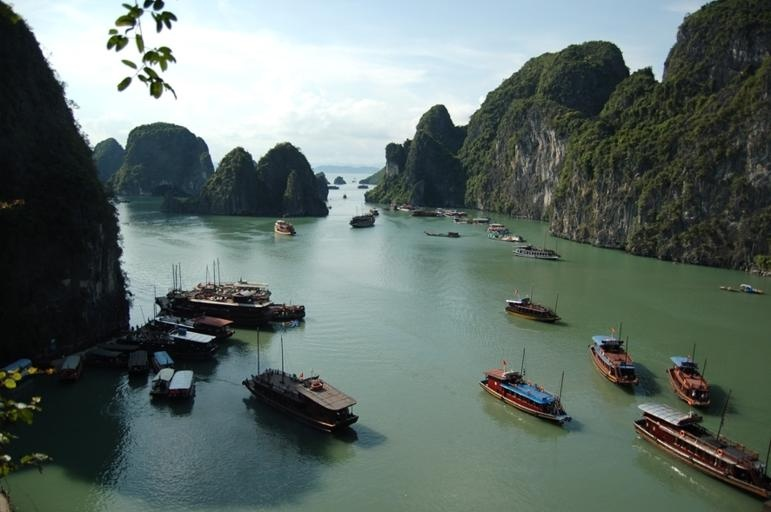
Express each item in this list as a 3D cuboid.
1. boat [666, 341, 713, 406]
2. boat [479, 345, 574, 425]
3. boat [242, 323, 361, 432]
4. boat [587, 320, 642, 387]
[{"bbox_3d":[34.863,14.603,64.236,2.931,3.652,5.290,2,13,8],"label":"boat"},{"bbox_3d":[15.660,14.335,63.128,3.403,6.376,10.591,1,9,-41],"label":"boat"},{"bbox_3d":[-9.290,15.634,61.788,14.104,4.150,3.536,8,15,29],"label":"boat"},{"bbox_3d":[28.228,11.832,69.547,3.567,6.215,11.611,-1,12,5],"label":"boat"}]
